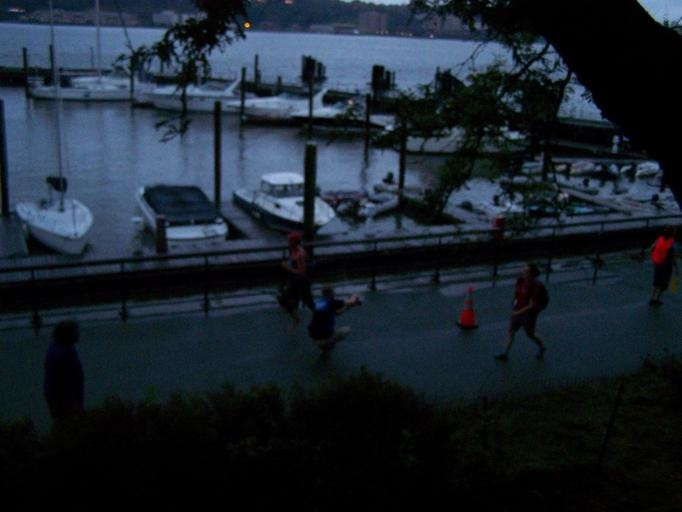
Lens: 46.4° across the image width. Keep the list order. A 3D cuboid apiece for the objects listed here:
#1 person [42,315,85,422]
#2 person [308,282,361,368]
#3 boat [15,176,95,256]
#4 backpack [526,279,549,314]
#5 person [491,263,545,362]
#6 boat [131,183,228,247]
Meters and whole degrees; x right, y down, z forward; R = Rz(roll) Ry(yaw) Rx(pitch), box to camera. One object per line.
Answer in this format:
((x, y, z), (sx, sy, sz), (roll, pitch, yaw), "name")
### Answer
((-3.588, 1.503, 10.274), (0.480, 1.290, 0.521), (-6, 20, -23), "person")
((-0.174, 1.037, 12.953), (0.653, 1.219, 0.337), (-14, 24, -40), "person")
((-7.782, -0.979, 21.689), (1.632, 1.613, 4.519), (-6, 23, -29), "boat")
((3.249, 0.672, 12.945), (0.342, 0.480, 0.207), (8, 5, 41), "backpack")
((3.147, 1.054, 14.047), (1.113, 1.895, 0.769), (-2, 28, -1), "person")
((-4.583, -1.147, 23.010), (1.884, 1.006, 3.674), (-7, 21, -26), "boat")
